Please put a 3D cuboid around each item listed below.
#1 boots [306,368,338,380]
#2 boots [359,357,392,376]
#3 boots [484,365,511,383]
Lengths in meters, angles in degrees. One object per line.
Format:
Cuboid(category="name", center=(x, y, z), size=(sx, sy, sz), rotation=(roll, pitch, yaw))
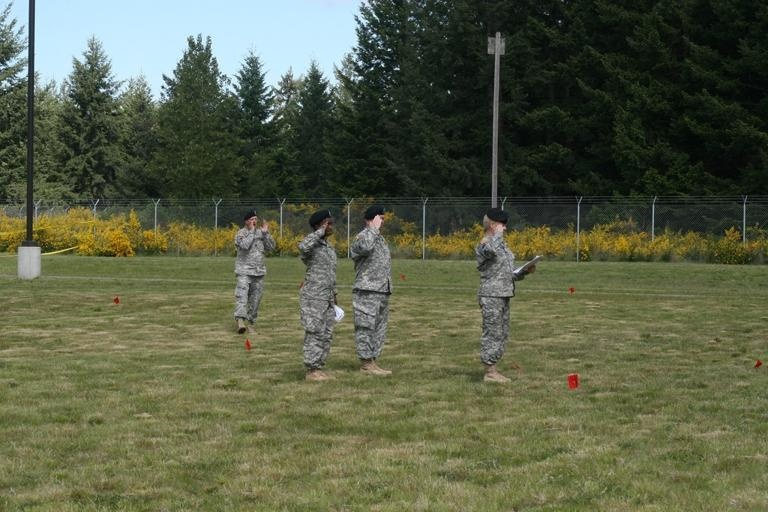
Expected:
Cuboid(category="boots", center=(-1.559, 3.069, 29.660), size=(0.811, 0.482, 0.286), rotation=(-2, 0, 2))
Cuboid(category="boots", center=(-0.170, 2.948, 30.094), size=(0.894, 0.601, 0.346), rotation=(-1, -1, 8))
Cuboid(category="boots", center=(2.862, 3.085, 29.543), size=(0.772, 0.518, 0.314), rotation=(-1, -1, -1))
